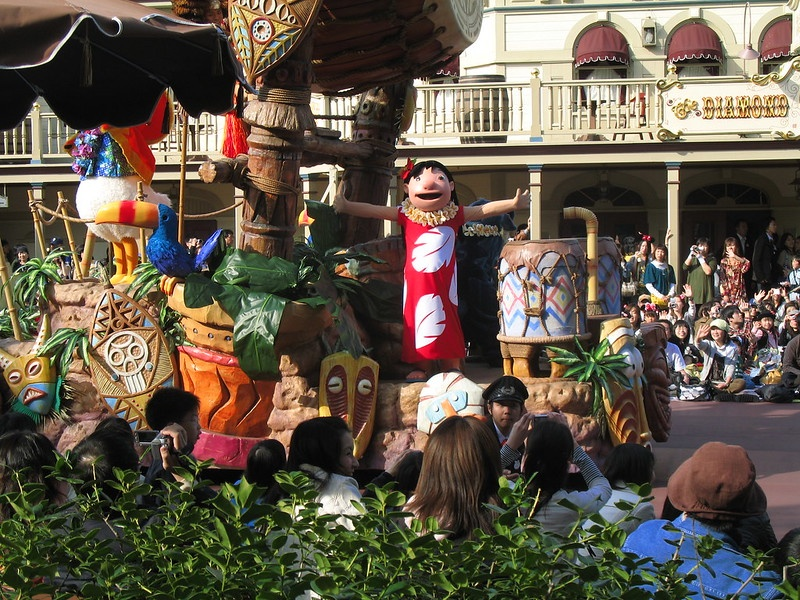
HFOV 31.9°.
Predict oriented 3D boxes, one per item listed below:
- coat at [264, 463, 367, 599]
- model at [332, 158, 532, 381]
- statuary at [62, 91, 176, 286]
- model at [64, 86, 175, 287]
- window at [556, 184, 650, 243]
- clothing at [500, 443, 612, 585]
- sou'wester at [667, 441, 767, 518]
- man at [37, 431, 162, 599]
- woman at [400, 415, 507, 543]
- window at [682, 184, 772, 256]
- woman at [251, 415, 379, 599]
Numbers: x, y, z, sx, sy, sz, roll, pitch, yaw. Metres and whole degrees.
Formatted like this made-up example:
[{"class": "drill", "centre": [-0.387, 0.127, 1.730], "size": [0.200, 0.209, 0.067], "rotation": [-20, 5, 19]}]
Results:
[{"class": "coat", "centre": [-0.355, 1.237, 7.656], "size": [0.488, 0.694, 0.669], "rotation": [-16, 48, 5]}, {"class": "model", "centre": [0.270, -0.228, 10.552], "size": [1.278, 1.643, 0.753], "rotation": [0, 2, 3]}, {"class": "statuary", "centre": [-2.210, -0.945, 11.273], "size": [0.810, 1.577, 1.306], "rotation": [0, 2, -11]}, {"class": "model", "centre": [-2.243, -0.976, 11.512], "size": [0.858, 1.701, 0.836], "rotation": [-4, -9, 20]}, {"class": "window", "centre": [3.227, -1.404, 21.859], "size": [1.492, 1.561, 0.112], "rotation": [1, 26, 9]}, {"class": "clothing", "centre": [0.811, 1.114, 7.191], "size": [0.513, 0.307, 1.017], "rotation": [-3, 30, 6]}, {"class": "sou'wester", "centre": [1.753, 0.997, 7.703], "size": [0.457, 0.252, 0.455], "rotation": [-3, 24, 14]}, {"class": "man", "centre": [-1.590, 1.035, 7.453], "size": [0.387, 0.742, 0.310], "rotation": [-20, -20, 16]}, {"class": "woman", "centre": [0.337, 0.850, 7.338], "size": [0.491, 0.578, 0.534], "rotation": [1, 33, 4]}, {"class": "window", "centre": [5.739, -1.201, 24.449], "size": [1.579, 1.797, 0.142], "rotation": [0, 24, 12]}, {"class": "woman", "centre": [-0.432, 1.089, 7.222], "size": [0.591, 1.315, 0.436], "rotation": [-9, -22, 29]}]
